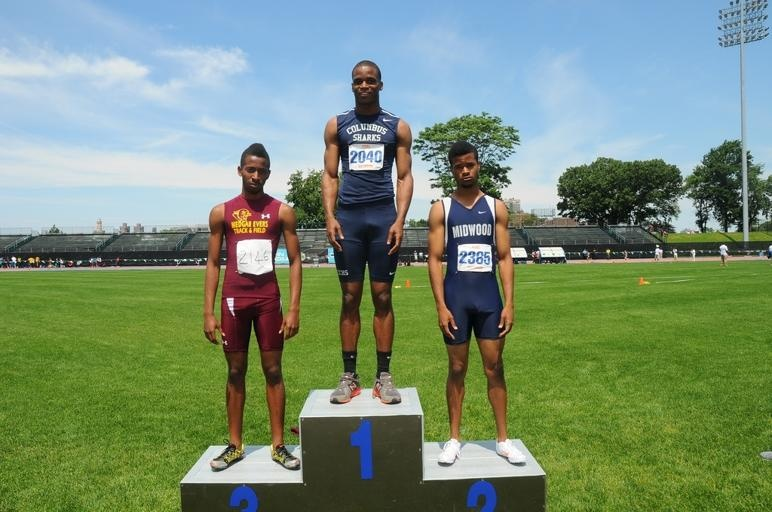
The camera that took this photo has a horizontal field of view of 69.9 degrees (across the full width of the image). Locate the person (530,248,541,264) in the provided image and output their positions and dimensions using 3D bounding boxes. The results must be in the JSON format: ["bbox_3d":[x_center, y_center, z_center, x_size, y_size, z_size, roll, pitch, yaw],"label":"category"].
[{"bbox_3d":[13.623,-0.034,50.066,0.711,1.202,3.046,0,5,13],"label":"person"}]

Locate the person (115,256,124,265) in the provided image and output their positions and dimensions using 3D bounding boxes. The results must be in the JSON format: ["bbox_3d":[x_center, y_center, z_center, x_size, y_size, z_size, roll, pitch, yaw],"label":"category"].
[{"bbox_3d":[-27.480,0.435,57.227,0.275,1.033,1.120,-26,-12,19],"label":"person"}]

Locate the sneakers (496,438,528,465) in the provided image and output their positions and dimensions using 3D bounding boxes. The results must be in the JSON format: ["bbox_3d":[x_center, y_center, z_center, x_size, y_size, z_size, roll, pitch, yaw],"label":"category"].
[{"bbox_3d":[1.489,2.293,6.498,0.163,0.149,0.351,-4,-2,-24],"label":"sneakers"}]

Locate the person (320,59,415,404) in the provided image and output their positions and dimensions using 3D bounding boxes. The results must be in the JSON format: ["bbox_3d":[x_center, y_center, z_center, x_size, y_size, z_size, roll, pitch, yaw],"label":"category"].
[{"bbox_3d":[-0.228,-0.407,7.202,1.195,4.201,1.136,-1,5,-4],"label":"person"}]

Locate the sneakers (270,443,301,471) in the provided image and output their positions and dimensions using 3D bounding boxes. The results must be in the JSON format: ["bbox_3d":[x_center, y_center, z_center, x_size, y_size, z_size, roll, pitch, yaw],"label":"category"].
[{"bbox_3d":[-1.179,2.352,6.526,0.208,0.212,0.448,-5,7,-41],"label":"sneakers"}]

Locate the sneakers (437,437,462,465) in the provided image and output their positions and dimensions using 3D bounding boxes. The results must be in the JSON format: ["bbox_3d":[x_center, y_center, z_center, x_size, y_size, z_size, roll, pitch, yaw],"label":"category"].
[{"bbox_3d":[0.782,2.300,6.570,0.405,0.224,0.205,-5,7,-41],"label":"sneakers"}]

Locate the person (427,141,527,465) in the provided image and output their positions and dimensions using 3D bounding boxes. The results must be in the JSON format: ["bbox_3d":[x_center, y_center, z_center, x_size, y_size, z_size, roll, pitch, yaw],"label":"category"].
[{"bbox_3d":[1.048,0.449,6.844,1.052,3.759,0.905,0,5,9],"label":"person"}]

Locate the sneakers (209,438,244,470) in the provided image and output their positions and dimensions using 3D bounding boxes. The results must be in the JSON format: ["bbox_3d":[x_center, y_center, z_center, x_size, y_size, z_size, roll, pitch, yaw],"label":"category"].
[{"bbox_3d":[-1.852,2.343,6.560,0.200,0.220,0.489,2,6,30],"label":"sneakers"}]
